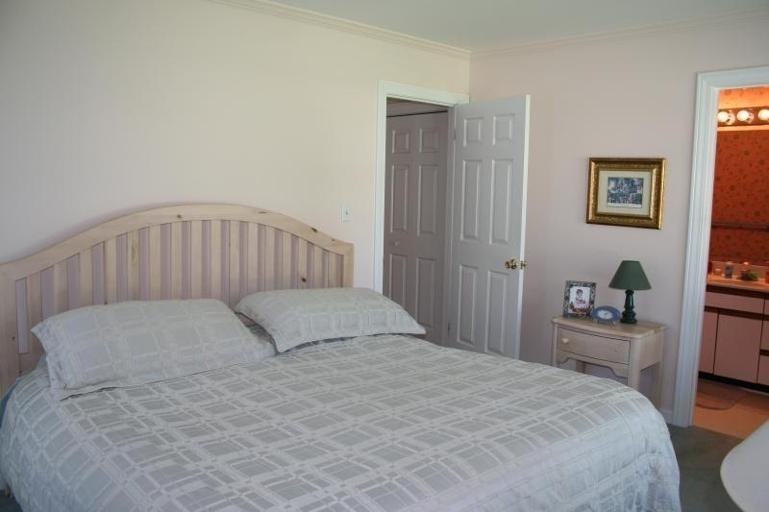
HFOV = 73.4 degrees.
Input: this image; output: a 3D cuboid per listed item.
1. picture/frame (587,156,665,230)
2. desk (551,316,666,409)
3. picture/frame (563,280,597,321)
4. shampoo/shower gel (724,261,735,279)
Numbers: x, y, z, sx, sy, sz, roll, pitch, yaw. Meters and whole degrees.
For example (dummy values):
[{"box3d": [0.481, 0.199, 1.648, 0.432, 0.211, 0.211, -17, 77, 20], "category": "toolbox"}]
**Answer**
[{"box3d": [1.996, -0.523, 4.209, 0.613, 0.577, 0.045, 8, 9, 43], "category": "picture/frame"}, {"box3d": [1.807, 0.892, 4.238, 0.791, 0.671, 0.553, 6, 8, 44], "category": "desk"}, {"box3d": [1.602, 0.366, 4.225, 0.307, 0.354, 0.027, 5, 3, 10], "category": "picture/frame"}, {"box3d": [3.396, 0.135, 5.081, 0.079, 0.137, 0.098, 8, 15, 21], "category": "shampoo/shower gel"}]
